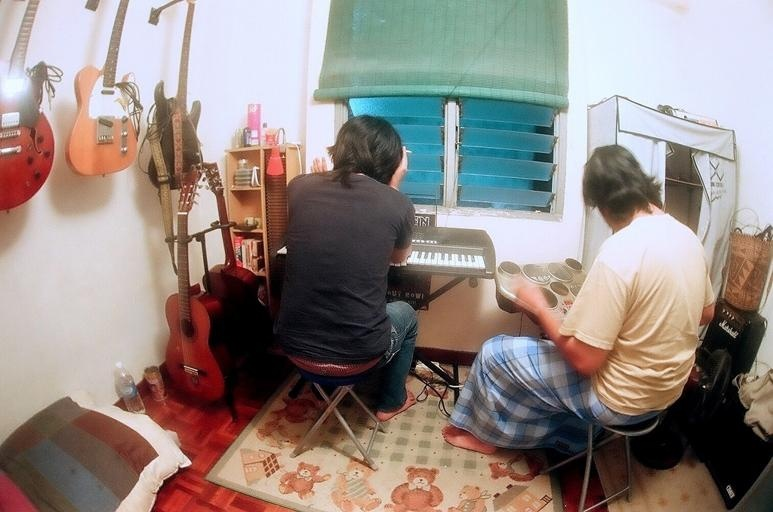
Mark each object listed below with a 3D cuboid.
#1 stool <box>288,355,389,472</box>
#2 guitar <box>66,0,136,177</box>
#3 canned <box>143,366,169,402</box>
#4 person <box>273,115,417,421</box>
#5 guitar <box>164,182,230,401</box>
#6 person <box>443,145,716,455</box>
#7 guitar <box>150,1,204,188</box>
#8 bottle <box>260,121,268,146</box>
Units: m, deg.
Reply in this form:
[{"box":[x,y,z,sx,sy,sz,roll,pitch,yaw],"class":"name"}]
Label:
[{"box":[-0.290,0.787,2.948,0.433,0.582,0.370,0,6,8],"class":"stool"},{"box":[-1.569,-0.912,2.918,0.239,0.953,0.433,16,19,40],"class":"guitar"},{"box":[-1.438,0.804,3.341,0.104,0.192,0.118,0,15,36],"class":"canned"},{"box":[-0.211,-0.086,2.699,0.685,1.212,0.373,-1,15,-13],"class":"person"},{"box":[-1.105,0.209,3.127,0.434,1.263,0.220,14,18,37],"class":"guitar"},{"box":[0.975,0.396,2.946,1.276,1.866,0.831,13,18,38],"class":"person"},{"box":[-1.260,-0.939,3.146,0.306,1.095,0.279,-3,16,-21],"class":"guitar"},{"box":[-0.854,-0.861,3.762,0.047,0.151,0.180,-1,15,-13],"class":"bottle"}]
